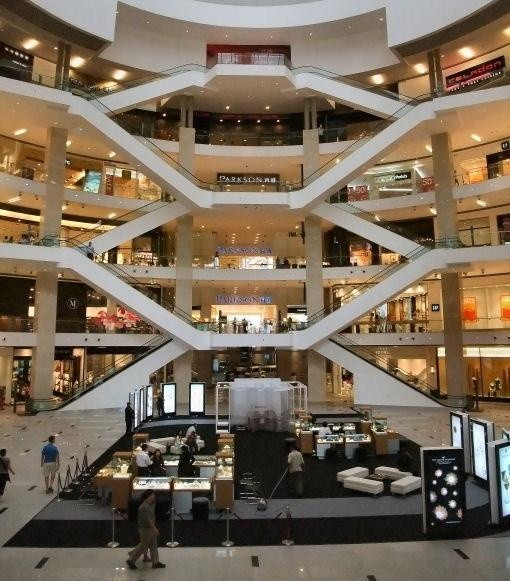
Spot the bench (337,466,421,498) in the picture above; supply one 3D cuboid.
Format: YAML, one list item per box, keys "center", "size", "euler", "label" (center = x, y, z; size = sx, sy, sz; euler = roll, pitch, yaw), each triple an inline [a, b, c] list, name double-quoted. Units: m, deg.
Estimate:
- center: [2.834, 4.342, 12.440]
  size: [1.766, 0.303, 1.325]
  euler: [0, -4, -1]
  label: "bench"

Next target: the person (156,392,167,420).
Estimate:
- center: [-3.556, 4.287, 20.657]
  size: [0.274, 0.943, 0.708]
  euler: [3, -6, -27]
  label: "person"

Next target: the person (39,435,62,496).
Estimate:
- center: [-4.581, 3.826, 12.286]
  size: [0.325, 1.169, 0.858]
  euler: [2, -5, -18]
  label: "person"

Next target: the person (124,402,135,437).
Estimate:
- center: [-4.078, 4.161, 17.915]
  size: [0.308, 0.963, 0.907]
  euler: [2, -5, -13]
  label: "person"

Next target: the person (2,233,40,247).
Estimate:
- center: [-8.906, -1.940, 21.030]
  size: [1.127, 0.383, 0.774]
  euler: [-1, -1, 7]
  label: "person"
